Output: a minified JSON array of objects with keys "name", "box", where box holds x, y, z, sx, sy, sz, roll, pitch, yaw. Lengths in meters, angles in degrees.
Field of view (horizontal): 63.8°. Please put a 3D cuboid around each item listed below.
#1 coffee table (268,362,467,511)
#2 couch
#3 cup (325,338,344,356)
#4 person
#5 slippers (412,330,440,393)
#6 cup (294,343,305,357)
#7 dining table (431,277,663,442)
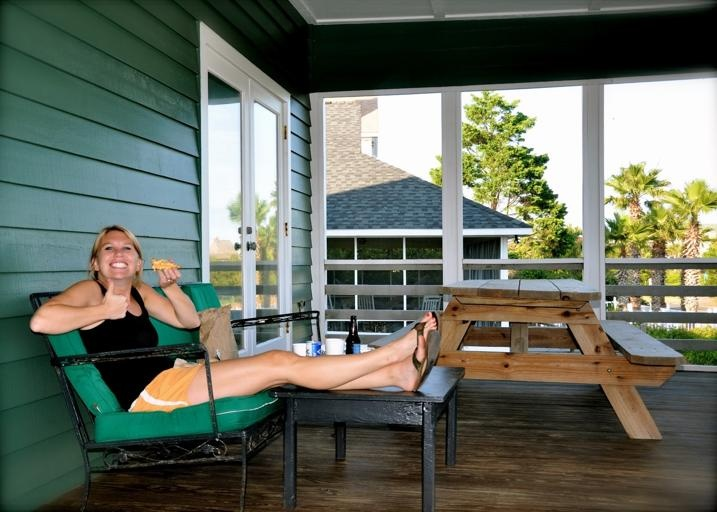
[{"name":"coffee table","box":[0.066,0.787,2.962,0.821,0.506,0.934,0,0,8]},{"name":"couch","box":[-0.869,0.811,3.131,1.164,0.924,1.879,-1,-1,3]},{"name":"cup","box":[-0.123,0.516,3.259,0.124,0.072,0.087,1,-3,4]},{"name":"person","box":[-0.573,0.395,2.937,1.974,0.820,0.807,6,0,1]},{"name":"slippers","box":[0.310,0.485,2.728,0.121,0.285,0.121,22,22,37]},{"name":"cup","box":[-0.319,0.522,3.194,0.086,0.049,0.078,0,1,8]},{"name":"dining table","box":[1.316,0.636,4.133,1.462,0.583,1.271,0,1,12]}]
